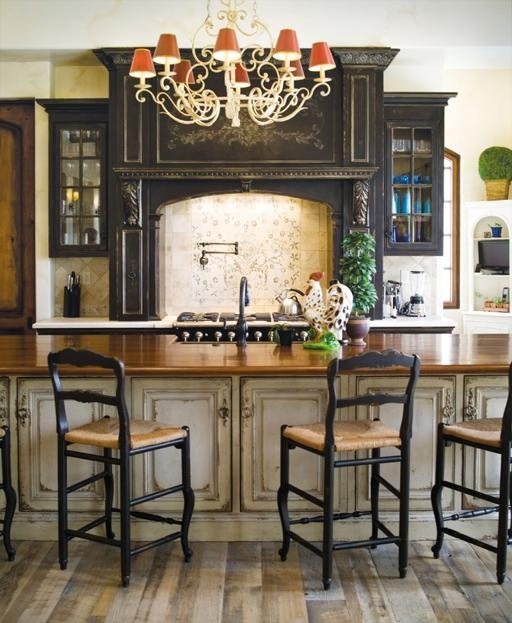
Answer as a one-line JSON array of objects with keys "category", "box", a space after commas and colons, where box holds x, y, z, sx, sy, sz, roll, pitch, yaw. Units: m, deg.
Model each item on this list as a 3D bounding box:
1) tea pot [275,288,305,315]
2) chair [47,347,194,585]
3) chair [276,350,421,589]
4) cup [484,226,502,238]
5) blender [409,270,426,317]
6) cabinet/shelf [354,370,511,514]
[{"category": "tea pot", "box": [0.254, -0.074, 5.642, 0.238, 0.204, 0.175, 2, -3, -4]}, {"category": "chair", "box": [-0.587, 0.651, 3.201, 0.524, 0.976, 0.482, 1, 2, 27]}, {"category": "chair", "box": [0.419, 0.627, 3.253, 0.630, 0.982, 0.532, -5, 6, -27]}, {"category": "cup", "box": [2.249, -0.752, 7.033, 0.096, 0.091, 0.133, 0, -1, -25]}, {"category": "blender", "box": [1.293, -0.147, 5.937, 0.117, 0.361, 0.272, 0, 6, 12]}, {"category": "cabinet/shelf", "box": [0.781, 0.595, 3.364, 0.712, 0.618, 0.272, 0, -2, -6]}]
